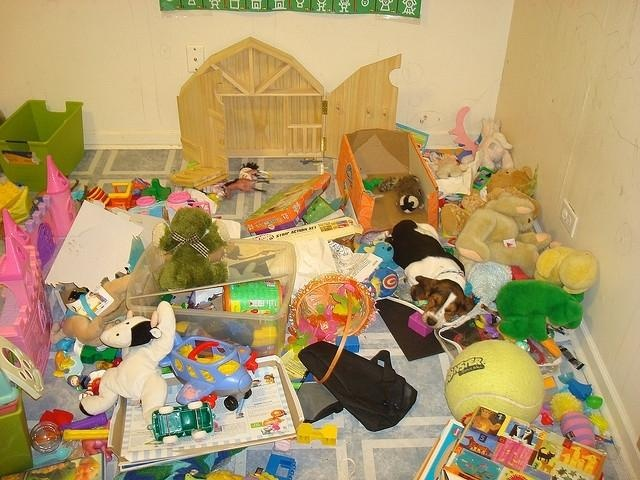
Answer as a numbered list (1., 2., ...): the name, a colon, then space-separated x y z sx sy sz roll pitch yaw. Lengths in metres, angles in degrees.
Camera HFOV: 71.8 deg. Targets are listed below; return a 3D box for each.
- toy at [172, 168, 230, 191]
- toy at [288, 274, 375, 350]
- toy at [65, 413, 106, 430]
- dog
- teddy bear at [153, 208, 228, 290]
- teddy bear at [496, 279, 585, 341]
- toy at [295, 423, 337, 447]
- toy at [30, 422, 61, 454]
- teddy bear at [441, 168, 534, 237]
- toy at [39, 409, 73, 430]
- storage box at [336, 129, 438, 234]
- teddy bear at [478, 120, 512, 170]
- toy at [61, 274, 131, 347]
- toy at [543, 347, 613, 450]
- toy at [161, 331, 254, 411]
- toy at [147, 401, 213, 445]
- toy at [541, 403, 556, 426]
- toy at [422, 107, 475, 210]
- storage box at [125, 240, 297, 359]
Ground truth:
1. toy: -1.237 -0.644 4.506 0.502 0.130 0.332 13 33 19
2. toy: 0.074 0.466 3.065 0.601 0.351 0.295 -8 31 -16
3. toy: -1.410 1.078 2.655 0.247 0.079 0.080 -2 52 -12
4. dog: 0.802 0.182 3.304 0.410 0.387 0.822 -25 58 3
5. teddy bear: -0.822 0.056 2.791 0.434 0.525 0.246 -3 7 -15
6. teddy bear: 1.435 0.446 2.922 0.462 0.427 0.216 -10 -10 8
7. toy: -0.021 1.133 2.598 0.238 0.077 0.104 2 30 1
8. toy: -1.548 1.116 2.492 0.153 0.164 0.041 -11 -7 -5
9. teddy bear: 1.521 -0.310 3.994 0.885 0.261 0.575 -35 31 -9
10. toy: -1.561 1.056 2.619 0.108 0.114 0.110 9 34 6
11. storage box: 0.665 -0.537 4.148 0.854 0.457 1.203 -10 41 -13
12. teddy bear: 1.851 -0.994 4.617 0.354 0.402 0.477 11 31 16
13. toy: -1.457 0.463 3.018 0.473 0.212 0.499 -15 66 17
14. toy: 1.552 1.000 2.716 0.240 0.277 0.617 -35 65 18
15. toy: -0.634 0.743 2.550 0.506 0.304 0.359 0 30 -1
16. toy: -0.711 0.943 2.265 0.290 0.177 0.076 -3 -4 -8
17. toy: 1.385 1.074 2.722 0.096 0.045 0.130 2 31 2
18. toy: 1.396 -0.833 4.641 0.586 0.188 1.138 -1 57 24
19. storage box: -0.720 0.422 3.009 0.956 0.383 0.687 9 57 -3
